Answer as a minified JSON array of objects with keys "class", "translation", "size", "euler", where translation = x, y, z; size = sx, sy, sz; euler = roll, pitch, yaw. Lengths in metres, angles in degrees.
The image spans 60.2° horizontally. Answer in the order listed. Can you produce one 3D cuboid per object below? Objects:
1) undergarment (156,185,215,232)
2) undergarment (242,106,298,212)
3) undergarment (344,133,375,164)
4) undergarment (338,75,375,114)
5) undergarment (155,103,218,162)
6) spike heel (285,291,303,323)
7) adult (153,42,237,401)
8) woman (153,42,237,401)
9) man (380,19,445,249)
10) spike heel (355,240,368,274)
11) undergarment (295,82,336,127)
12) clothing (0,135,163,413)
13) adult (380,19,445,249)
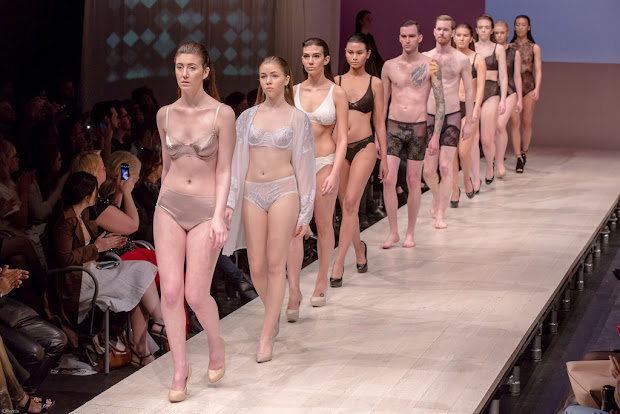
[{"class":"undergarment","translation":[-0.669,0.008,2.985],"size":[0.287,0.204,0.206],"euler":[10,3,2]},{"class":"undergarment","translation":[-0.256,-0.247,3.302],"size":[0.325,0.511,0.222],"euler":[-3,16,-4]},{"class":"undergarment","translation":[0.429,-0.463,4.421],"size":[0.270,0.199,0.198],"euler":[-25,-3,14]},{"class":"undergarment","translation":[0.377,-0.892,4.265],"size":[0.283,0.404,0.217],"euler":[8,27,23]},{"class":"undergarment","translation":[-0.651,-0.404,2.886],"size":[0.310,0.343,0.150],"euler":[2,3,9]},{"class":"spike heel","translation":[-0.112,0.729,3.942],"size":[0.071,0.097,0.247],"euler":[2,34,11]},{"class":"adult","translation":[-0.620,0.087,2.974],"size":[0.471,1.912,0.497],"euler":[-4,16,-10]},{"class":"woman","translation":[-0.620,0.087,2.974],"size":[0.471,1.912,0.497],"euler":[-4,16,-10]},{"class":"man","translation":[0.921,-0.672,5.215],"size":[0.815,2.160,0.481],"euler":[-10,18,-27]},{"class":"spike heel","translation":[0.467,0.451,4.818],"size":[0.087,0.305,0.118],"euler":[2,-2,9]},{"class":"undergarment","translation":[0.050,-0.724,3.811],"size":[0.333,0.300,0.188],"euler":[8,20,32]},{"class":"clothing","translation":[-2.204,0.569,4.839],"size":[1.587,2.748,1.050],"euler":[-4,-1,-16]},{"class":"adult","translation":[0.921,-0.671,5.212],"size":[0.805,2.160,0.475],"euler":[-10,18,-27]}]
